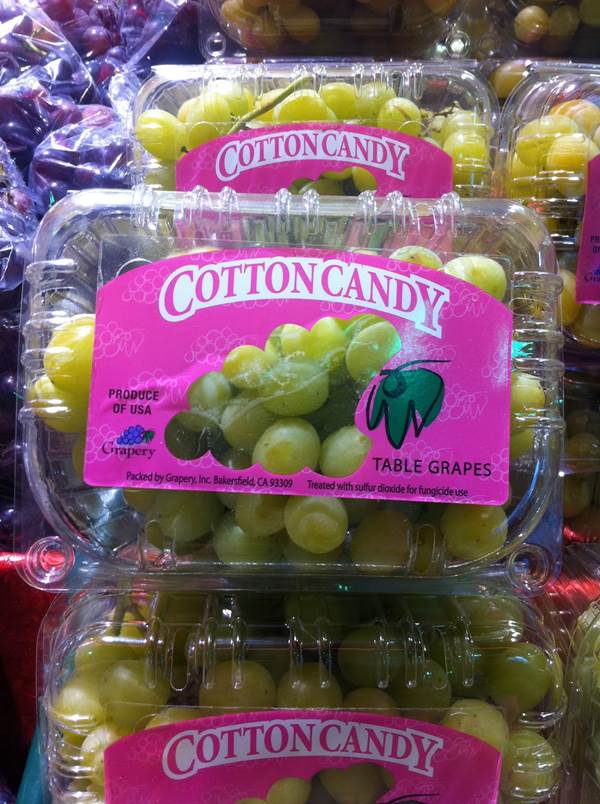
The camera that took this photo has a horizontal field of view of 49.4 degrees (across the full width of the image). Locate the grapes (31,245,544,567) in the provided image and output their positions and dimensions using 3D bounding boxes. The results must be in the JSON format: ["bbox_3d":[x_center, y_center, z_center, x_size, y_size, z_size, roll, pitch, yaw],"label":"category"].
[{"bbox_3d":[-0.008,-0.008,0.696,0.430,0.137,0.296,2,89,3],"label":"grapes"}]

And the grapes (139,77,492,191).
[{"bbox_3d":[0.024,-0.314,0.865,0.380,0.132,0.195,1,74,2],"label":"grapes"}]
